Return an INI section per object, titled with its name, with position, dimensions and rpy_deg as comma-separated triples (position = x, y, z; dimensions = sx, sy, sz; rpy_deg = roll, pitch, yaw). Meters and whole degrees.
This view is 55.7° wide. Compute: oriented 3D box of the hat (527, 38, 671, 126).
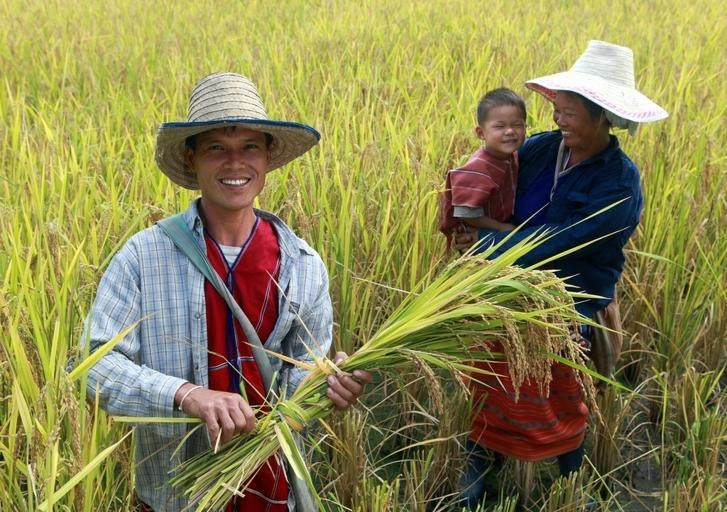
[hat]
position = 1.423, -1.019, 4.133
dimensions = 0.689, 0.540, 0.469
rpy_deg = -2, 14, 0

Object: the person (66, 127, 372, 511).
[person]
position = -0.742, 0.368, 3.445
dimensions = 1.246, 1.976, 0.741
rpy_deg = -9, 16, -24
